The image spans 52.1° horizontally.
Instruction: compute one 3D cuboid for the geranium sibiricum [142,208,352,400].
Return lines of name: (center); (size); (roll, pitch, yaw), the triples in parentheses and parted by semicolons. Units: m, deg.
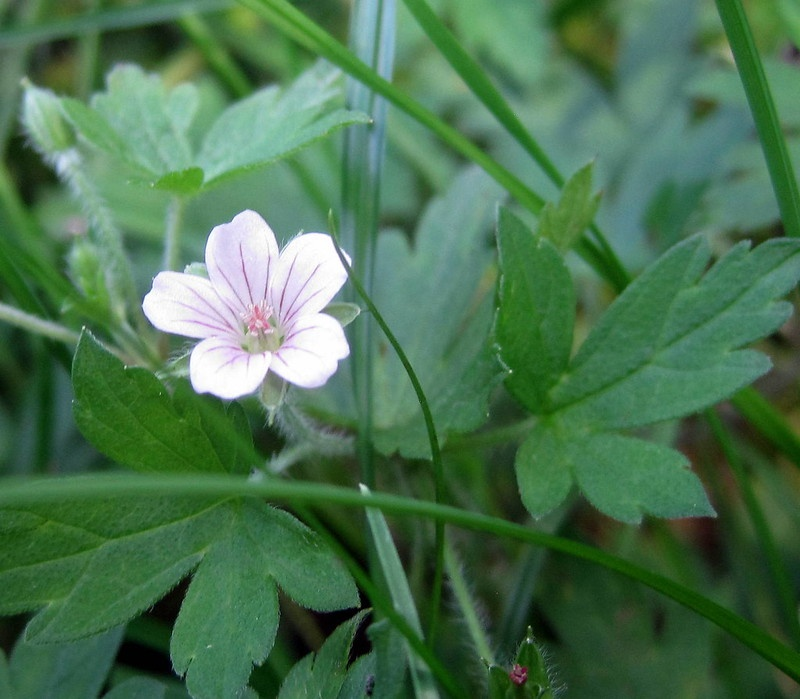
geranium sibiricum: (-0.312, -0.068, 1.766); (0.406, 0.140, 0.489); (-36, -31, -23)
